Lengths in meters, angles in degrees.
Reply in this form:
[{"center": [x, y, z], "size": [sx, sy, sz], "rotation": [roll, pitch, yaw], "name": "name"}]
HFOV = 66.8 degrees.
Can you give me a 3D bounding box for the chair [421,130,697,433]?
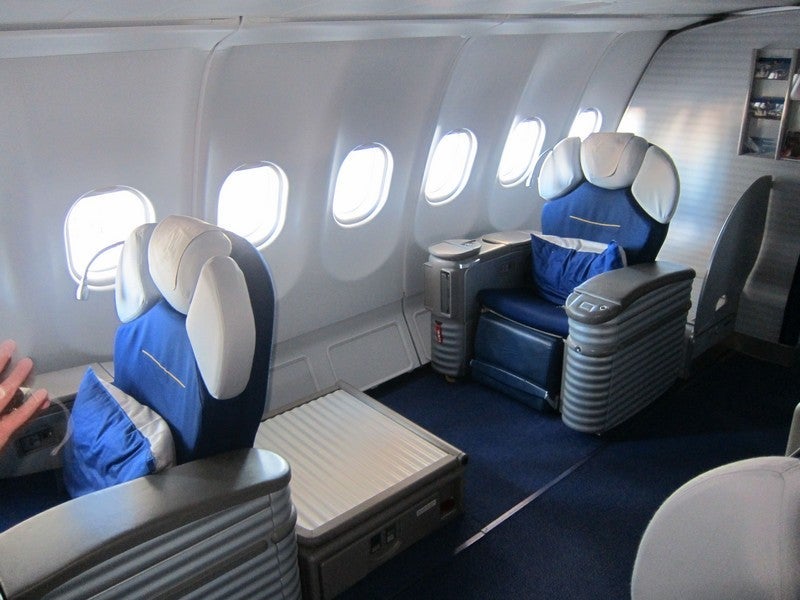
[{"center": [1.017, -0.194, 3.871], "size": [1.241, 1.555, 1.427], "rotation": [-16, 22, -41], "name": "chair"}]
